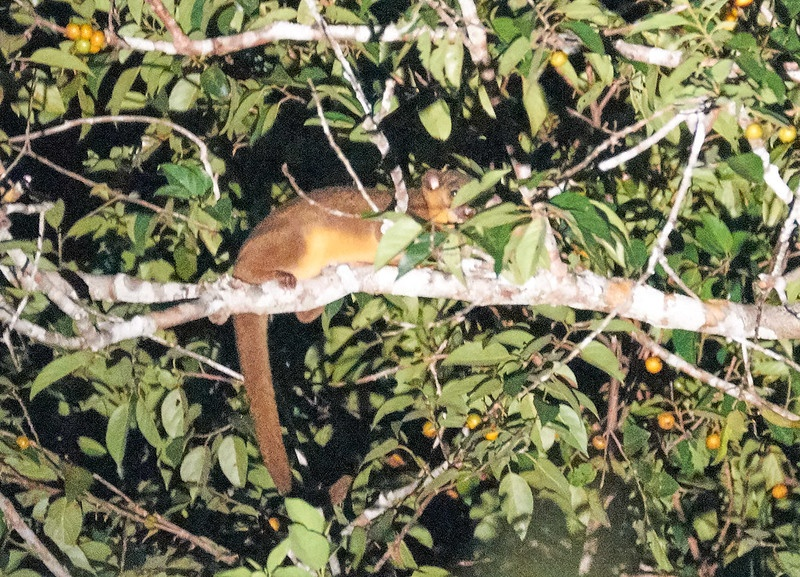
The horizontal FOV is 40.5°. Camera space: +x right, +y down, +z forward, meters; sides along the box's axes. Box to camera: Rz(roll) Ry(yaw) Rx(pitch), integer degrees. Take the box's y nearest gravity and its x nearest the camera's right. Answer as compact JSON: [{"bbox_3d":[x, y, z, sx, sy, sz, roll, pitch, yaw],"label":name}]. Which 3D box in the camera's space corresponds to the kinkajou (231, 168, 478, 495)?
[{"bbox_3d":[-0.439,-0.243,7.146,1.908,0.646,1.545,-37,87,-2],"label":"kinkajou"}]
